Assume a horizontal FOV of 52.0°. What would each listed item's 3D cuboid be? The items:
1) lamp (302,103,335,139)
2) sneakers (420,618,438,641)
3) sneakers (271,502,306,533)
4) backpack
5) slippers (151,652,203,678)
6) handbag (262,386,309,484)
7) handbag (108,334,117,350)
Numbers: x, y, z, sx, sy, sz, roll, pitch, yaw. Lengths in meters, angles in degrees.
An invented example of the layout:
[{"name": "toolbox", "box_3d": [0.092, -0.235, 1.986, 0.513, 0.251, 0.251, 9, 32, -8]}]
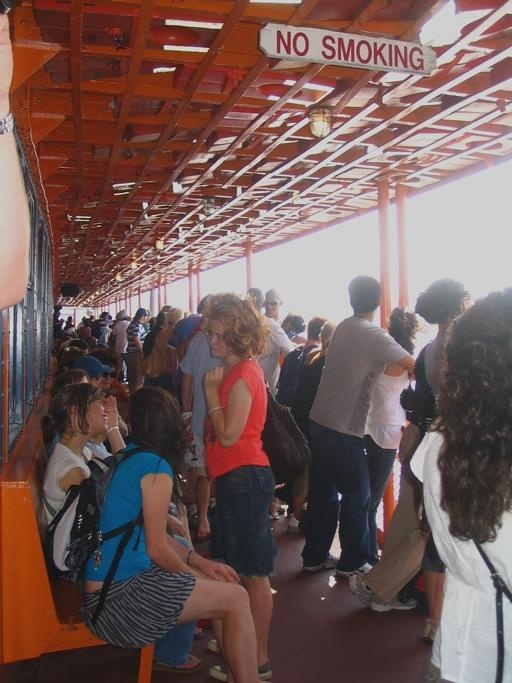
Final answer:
[{"name": "lamp", "box_3d": [0.614, -2.104, 4.957, 0.267, 0.267, 0.257, 6, 12, 19]}, {"name": "sneakers", "box_3d": [0.900, 1.541, 2.806, 0.067, 0.082, 0.198, 4, -9, -1]}, {"name": "sneakers", "box_3d": [0.272, 1.539, 4.482, 0.157, 0.182, 0.439, 5, -22, -1]}, {"name": "backpack", "box_3d": [-0.629, 0.705, 2.020, 0.575, 0.566, 0.228, 5, 1, 44]}, {"name": "slippers", "box_3d": [-0.379, 1.557, 2.500, 0.228, 0.090, 0.081, -1, 7, -3]}, {"name": "handbag", "box_3d": [0.164, 0.506, 2.794, 0.242, 0.460, 0.438, 4, 1, 6]}, {"name": "handbag", "box_3d": [-3.288, 0.015, 11.990, 0.249, 0.448, 0.346, -2, 7, -17]}]
